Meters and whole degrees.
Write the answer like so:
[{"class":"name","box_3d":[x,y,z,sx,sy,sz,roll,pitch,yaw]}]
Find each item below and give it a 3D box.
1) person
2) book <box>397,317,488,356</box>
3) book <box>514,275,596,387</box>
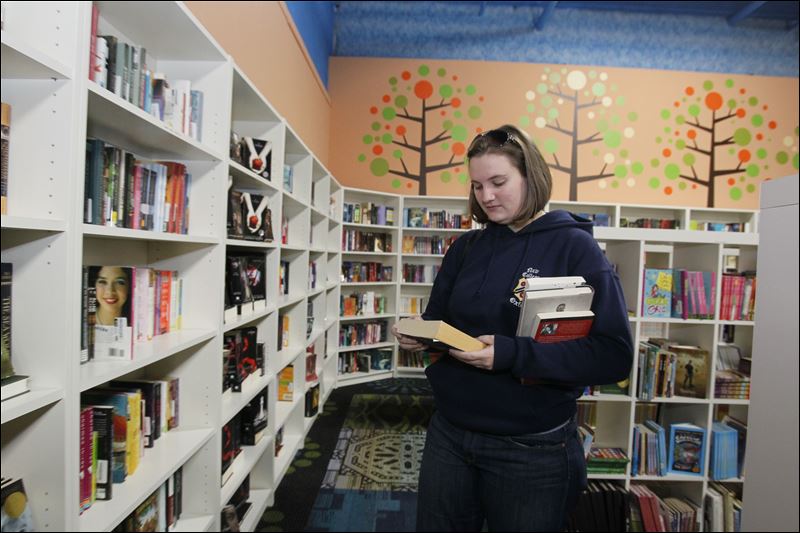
[{"class":"person","box_3d":[0.462,0.242,2.212,0.784,1.544,0.449,2,6,8]},{"class":"book","box_3d":[0.130,0.248,2.161,0.374,0.122,0.153,6,8,43]},{"class":"book","box_3d":[0.562,0.235,2.065,0.329,0.397,0.222,5,30,-4]}]
